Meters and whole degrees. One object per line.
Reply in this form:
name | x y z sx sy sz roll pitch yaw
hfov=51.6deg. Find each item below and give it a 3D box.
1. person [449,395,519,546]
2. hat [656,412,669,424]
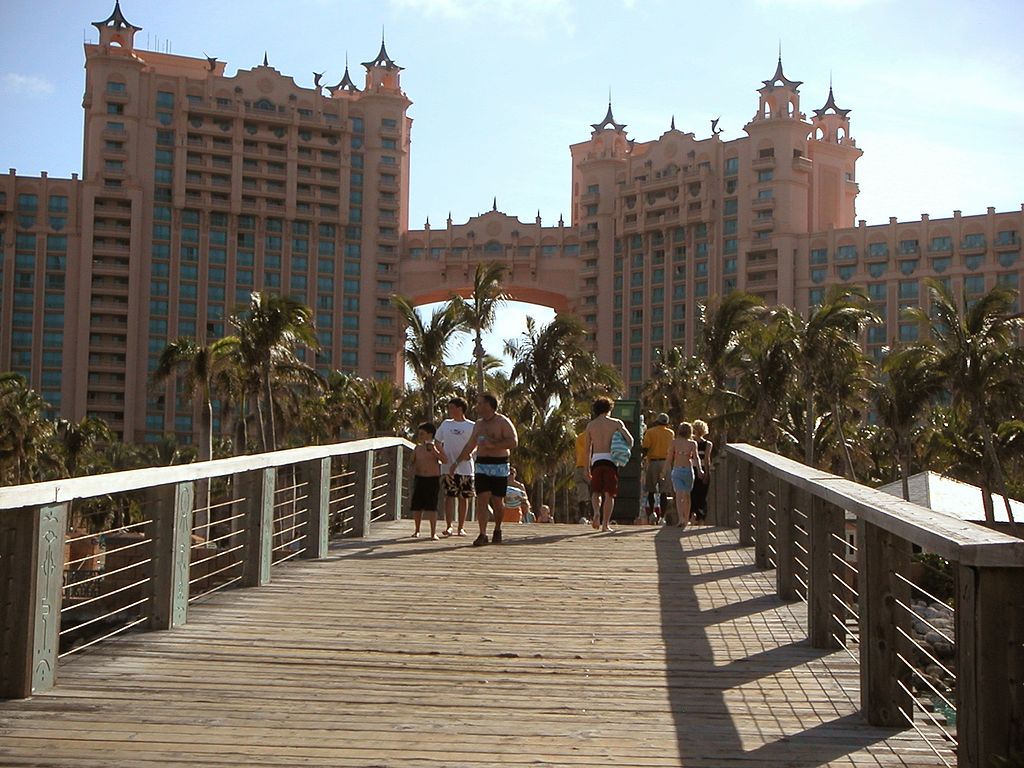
person | -0.307 1.087 13.477 0.700 1.948 1.433 0 3 -3
hat | 2.491 0.548 17.487 0.131 0.196 0.194 -3 -30 4
